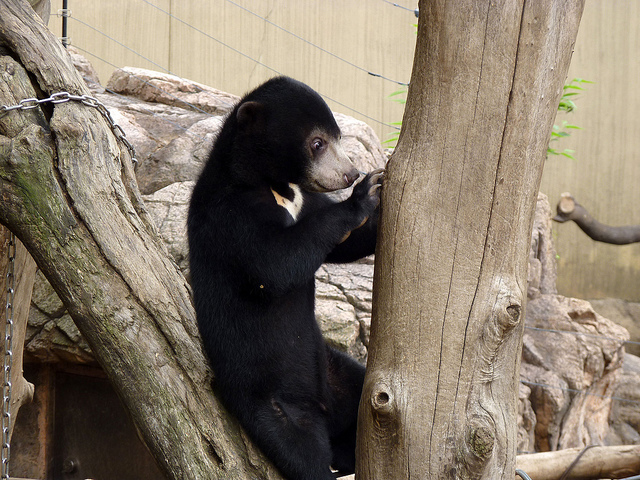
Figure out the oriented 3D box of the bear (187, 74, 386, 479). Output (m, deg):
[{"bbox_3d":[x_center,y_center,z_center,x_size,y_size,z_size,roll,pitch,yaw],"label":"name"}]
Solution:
[{"bbox_3d":[-0.263,0.241,7.290,1.128,2.085,0.522,1,0,-7],"label":"bear"}]
